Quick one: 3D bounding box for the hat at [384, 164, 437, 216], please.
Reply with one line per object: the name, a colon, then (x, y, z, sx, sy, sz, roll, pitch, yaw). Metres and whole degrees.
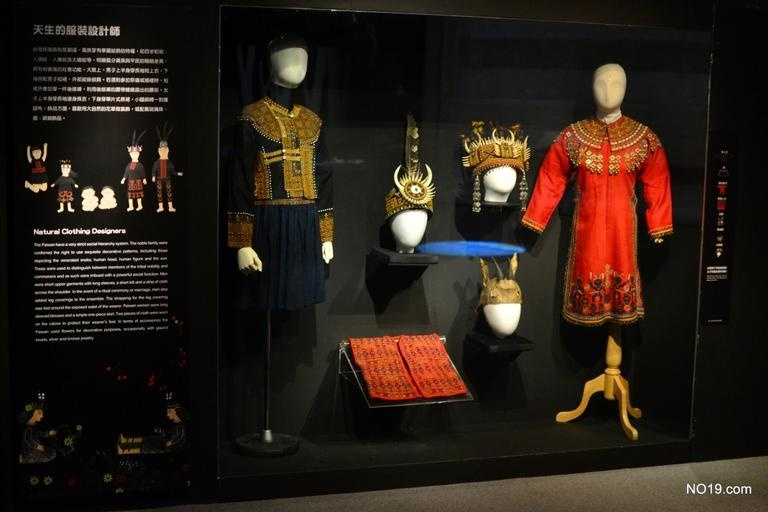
hat: (0.158, -0.391, 4.270, 0.313, 0.305, 0.214, -1, -8, -13)

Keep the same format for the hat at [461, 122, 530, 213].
hat: (0.678, -0.573, 4.329, 0.575, 0.687, 0.230, -1, 3, -18)

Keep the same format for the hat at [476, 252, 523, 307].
hat: (0.744, 0.155, 4.437, 0.267, 0.314, 0.217, -3, 6, -11)
